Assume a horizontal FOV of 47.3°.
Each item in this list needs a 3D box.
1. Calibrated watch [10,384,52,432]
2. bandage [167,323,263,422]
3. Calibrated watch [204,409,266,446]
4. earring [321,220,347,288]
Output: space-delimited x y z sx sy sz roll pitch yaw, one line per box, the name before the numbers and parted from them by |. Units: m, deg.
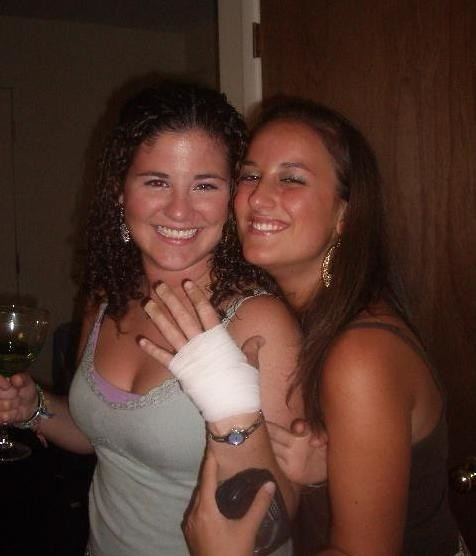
Calibrated watch | -0.658 0.412 1.729 0.123 0.141 0.053 -36 -38 26
bandage | -0.051 0.213 1.211 0.199 0.203 0.105 7 11 28
Calibrated watch | 0.002 0.334 1.178 0.081 0.038 0.077 -23 0 -12
earring | 0.260 -0.053 1.516 0.032 0.126 0.100 6 3 -24
